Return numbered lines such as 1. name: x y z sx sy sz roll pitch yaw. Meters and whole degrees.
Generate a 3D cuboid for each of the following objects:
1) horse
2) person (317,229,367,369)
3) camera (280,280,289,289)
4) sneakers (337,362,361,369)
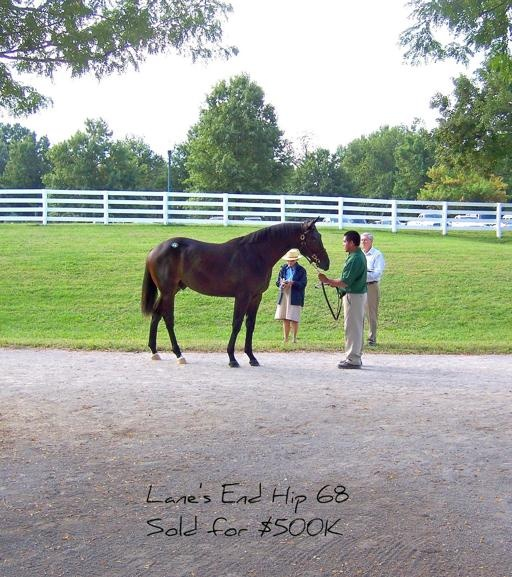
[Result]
1. horse: -0.352 0.110 10.150 2.668 1.927 0.690 0 -2 8
2. person: 1.225 0.140 9.692 0.499 1.792 0.609 4 6 18
3. camera: 0.511 -0.069 13.101 0.115 0.150 0.062 2 -10 10
4. sneakers: 1.238 1.015 9.578 0.289 0.119 0.110 7 1 -6
